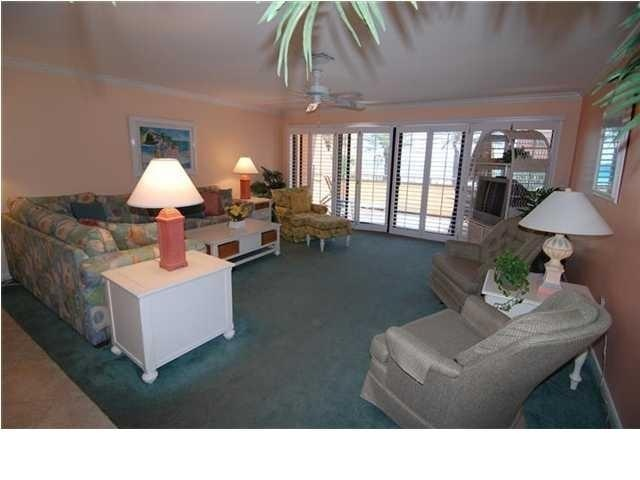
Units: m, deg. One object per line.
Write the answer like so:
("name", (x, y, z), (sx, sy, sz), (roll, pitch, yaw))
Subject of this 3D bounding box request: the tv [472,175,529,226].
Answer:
("tv", (2.273, -0.505, 5.164), (0.383, 0.598, 0.662), (-4, 21, -13))

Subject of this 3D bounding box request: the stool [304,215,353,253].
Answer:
("stool", (0.105, -0.144, 6.321), (0.751, 0.447, 0.751), (-12, 21, -34))

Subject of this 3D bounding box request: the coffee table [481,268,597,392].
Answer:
("coffee table", (1.413, 0.599, 2.698), (0.740, 0.658, 0.543), (14, 27, 36))

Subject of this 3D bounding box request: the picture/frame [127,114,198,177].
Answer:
("picture/frame", (-2.122, -1.286, 5.706), (1.042, 0.695, 0.039), (7, 11, 19))

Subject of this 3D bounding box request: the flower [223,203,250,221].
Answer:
("flower", (-1.045, -0.368, 5.328), (0.283, 0.178, 0.269), (-1, 12, -9))

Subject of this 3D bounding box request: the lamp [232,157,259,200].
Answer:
("lamp", (-1.242, -1.048, 6.954), (0.397, 0.682, 0.841), (-4, 18, -11))

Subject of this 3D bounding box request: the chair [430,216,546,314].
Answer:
("chair", (1.758, 0.180, 4.198), (1.006, 1.041, 0.864), (4, 29, -4))

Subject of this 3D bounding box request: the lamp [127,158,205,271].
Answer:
("lamp", (-1.173, -0.183, 3.201), (0.337, 0.862, 0.428), (13, 23, 35))

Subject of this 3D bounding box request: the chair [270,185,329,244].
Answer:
("chair", (-0.322, -0.469, 6.768), (0.763, 0.787, 0.716), (-14, 21, -35))

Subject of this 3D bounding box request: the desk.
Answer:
("desk", (-1.318, 0.471, 3.597), (0.926, 0.877, 1.142), (10, 17, 35))

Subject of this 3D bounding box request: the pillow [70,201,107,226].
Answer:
("pillow", (-2.465, -0.286, 4.391), (0.093, 0.277, 0.311), (-25, -1, 29))

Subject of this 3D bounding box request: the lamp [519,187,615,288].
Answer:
("lamp", (1.819, 0.006, 3.125), (0.413, 0.754, 0.463), (-10, 20, -27))

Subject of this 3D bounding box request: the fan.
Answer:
("fan", (0.046, -1.592, 4.384), (1.053, 0.511, 1.025), (8, 12, 16))
